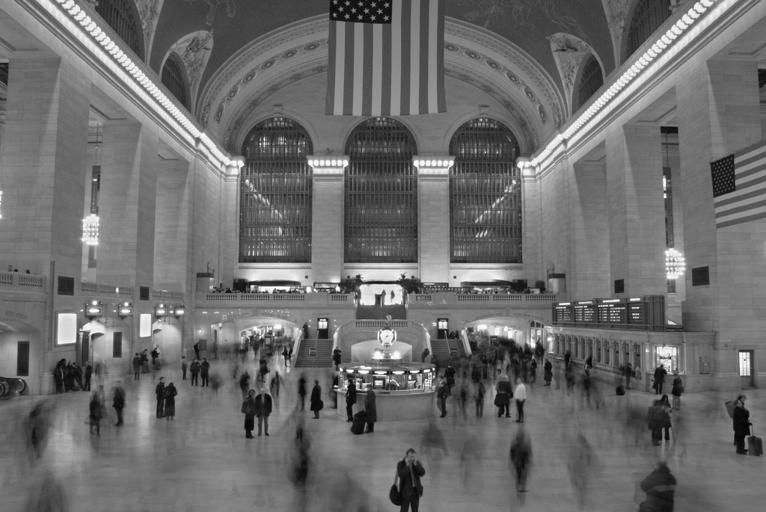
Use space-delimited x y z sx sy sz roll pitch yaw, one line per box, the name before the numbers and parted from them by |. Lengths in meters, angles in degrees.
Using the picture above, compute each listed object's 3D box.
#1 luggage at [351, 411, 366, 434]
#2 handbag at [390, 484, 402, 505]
luggage | -0.853 5.739 23.989 0.653 0.961 0.534 3 -6 -1
handbag | 0.310 5.965 17.495 0.322 0.511 0.231 10 -15 -39
